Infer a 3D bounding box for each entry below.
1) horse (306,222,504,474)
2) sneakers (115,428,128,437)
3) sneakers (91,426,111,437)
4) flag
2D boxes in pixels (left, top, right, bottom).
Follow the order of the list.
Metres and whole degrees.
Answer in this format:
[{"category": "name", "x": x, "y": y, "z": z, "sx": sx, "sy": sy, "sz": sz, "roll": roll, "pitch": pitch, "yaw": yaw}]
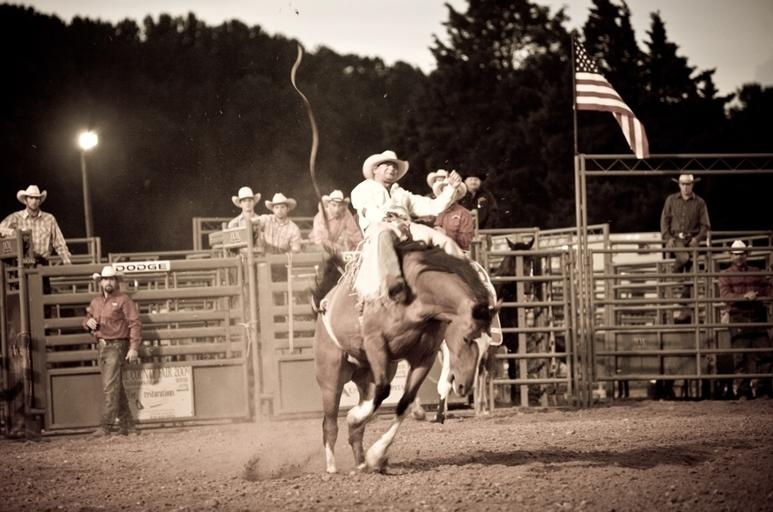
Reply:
[{"category": "horse", "x": 0.085, "y": 1.886, "z": 19.405, "sx": 1.533, "sy": 4.689, "sz": 5.836, "roll": 3, "pitch": -16, "yaw": -34}, {"category": "sneakers", "x": -6.094, "y": 4.035, "z": 22.521, "sx": 0.437, "sy": 0.264, "sz": 0.126, "roll": -5, "pitch": -3, "yaw": 39}, {"category": "sneakers", "x": -6.432, "y": 3.985, "z": 22.269, "sx": 0.328, "sy": 0.209, "sz": 0.193, "roll": 18, "pitch": -8, "yaw": -20}, {"category": "flag", "x": 5.311, "y": -3.963, "z": 23.824, "sx": 1.558, "sy": 3.691, "sz": 0.390, "roll": 2, "pitch": -26, "yaw": 2}]
